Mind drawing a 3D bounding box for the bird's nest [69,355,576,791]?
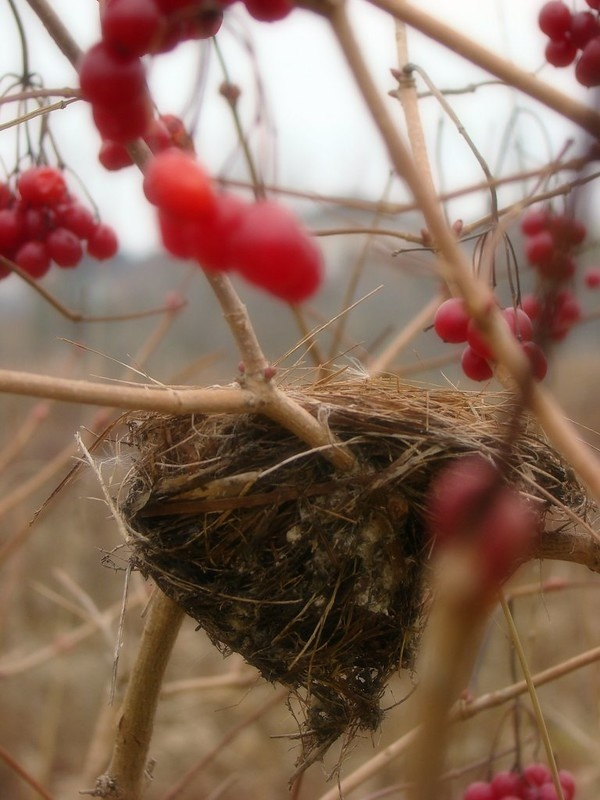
[{"bbox_3d":[0.002,0.115,0.826,0.422,0.170,0.320,9,-71,-11],"label":"bird's nest"}]
